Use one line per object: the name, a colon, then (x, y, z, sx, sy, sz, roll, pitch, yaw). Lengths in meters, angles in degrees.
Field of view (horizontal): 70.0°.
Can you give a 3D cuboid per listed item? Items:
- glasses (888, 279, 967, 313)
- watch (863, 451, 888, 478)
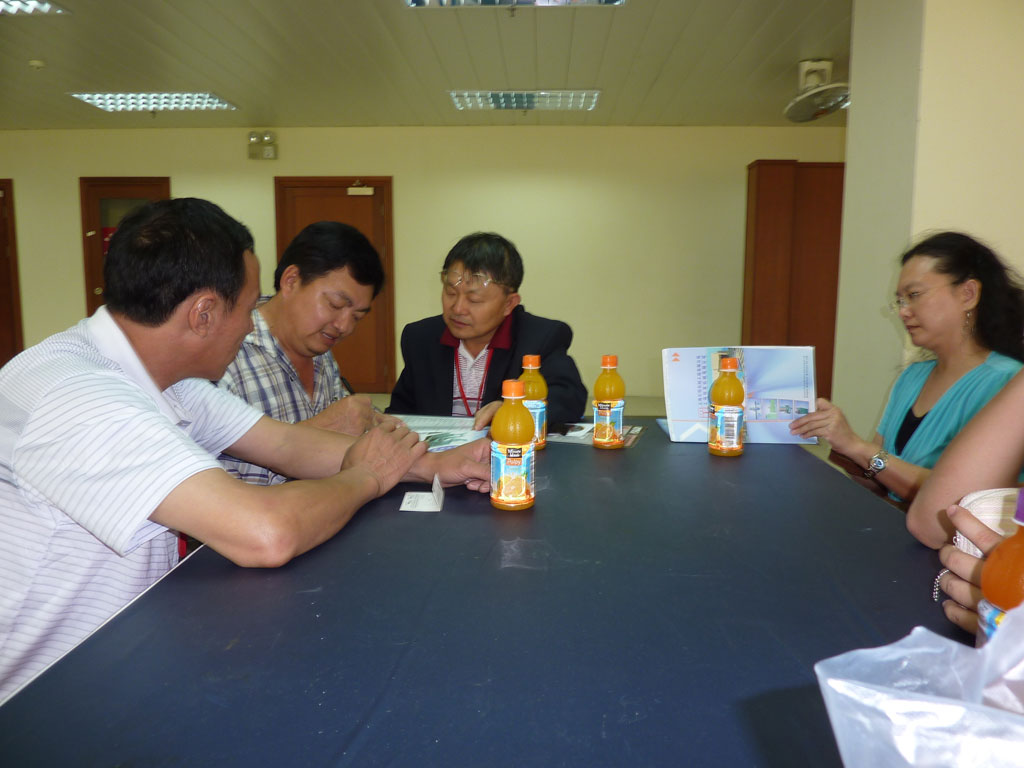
glasses: (1.331, -0.273, 2.293, 0.132, 0.079, 0.109, 10, -6, -11)
watch: (1.007, 0.228, 2.040, 0.038, 0.059, 0.063, 9, 56, 20)
